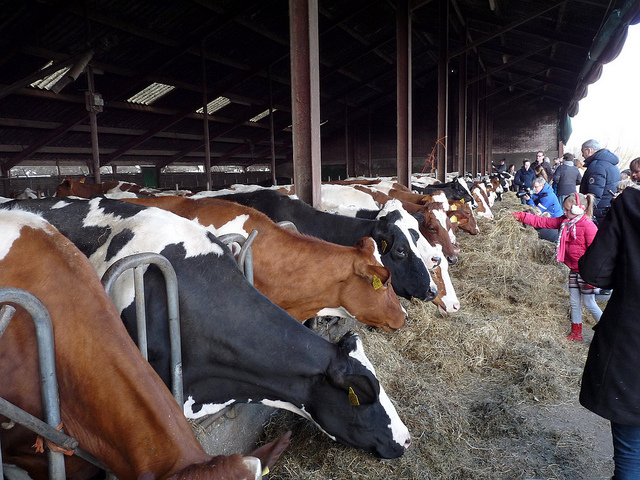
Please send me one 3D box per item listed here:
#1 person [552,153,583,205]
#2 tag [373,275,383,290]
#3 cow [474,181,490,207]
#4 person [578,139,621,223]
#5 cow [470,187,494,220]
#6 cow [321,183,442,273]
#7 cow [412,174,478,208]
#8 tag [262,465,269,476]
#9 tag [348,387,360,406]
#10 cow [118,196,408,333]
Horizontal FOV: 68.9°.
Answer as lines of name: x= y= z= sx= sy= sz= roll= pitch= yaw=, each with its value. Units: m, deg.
person: x=5.311 y=-1.176 z=9.943 sx=0.521 sy=1.381 sz=0.408 roll=3 pitch=24 yaw=25
tag: x=0.387 y=0.281 z=3.147 sx=0.027 sy=0.077 sz=0.087 roll=-17 pitch=16 yaw=-16
cow: x=3.999 y=-1.134 z=11.508 sx=0.226 sy=0.932 sz=0.459 roll=-6 pitch=-12 yaw=11
person: x=4.543 y=-0.639 z=7.556 sx=0.519 sy=1.926 sz=0.798 roll=5 pitch=16 yaw=35
cow: x=3.803 y=-0.858 z=10.973 sx=0.484 sy=0.982 sz=0.244 roll=26 pitch=-32 yaw=-29
cow: x=0.680 y=-0.109 z=5.369 sx=1.891 sy=1.050 sz=0.584 roll=5 pitch=-4 yaw=32
cow: x=2.792 y=-1.103 z=10.586 sx=1.472 sy=0.836 sz=0.706 roll=10 pitch=44 yaw=40
tag: x=-0.208 y=0.869 z=1.741 sx=0.007 sy=0.030 sz=0.030 roll=6 pitch=-1 yaw=-20
tag: x=0.180 y=0.865 z=2.553 sx=0.060 sy=0.113 sz=0.025 roll=1 pitch=6 yaw=8
cow: x=-0.381 y=0.161 z=3.175 sx=1.553 sy=0.889 sz=0.465 roll=18 pitch=32 yaw=19
